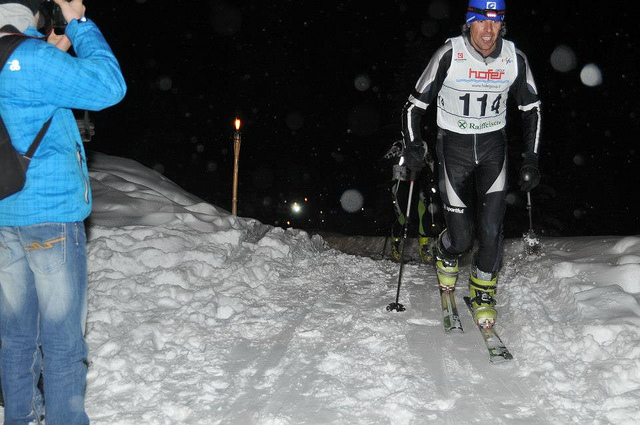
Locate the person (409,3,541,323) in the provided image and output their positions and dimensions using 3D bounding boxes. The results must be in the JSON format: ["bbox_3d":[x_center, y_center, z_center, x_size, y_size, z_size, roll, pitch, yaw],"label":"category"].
[{"bbox_3d":[1.791,-0.633,6.058,1.404,3.350,0.825,0,13,15],"label":"person"}]

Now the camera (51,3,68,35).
[{"bbox_3d":[-2.151,-1.567,4.286,0.113,0.285,0.609,-9,15,-24],"label":"camera"}]
